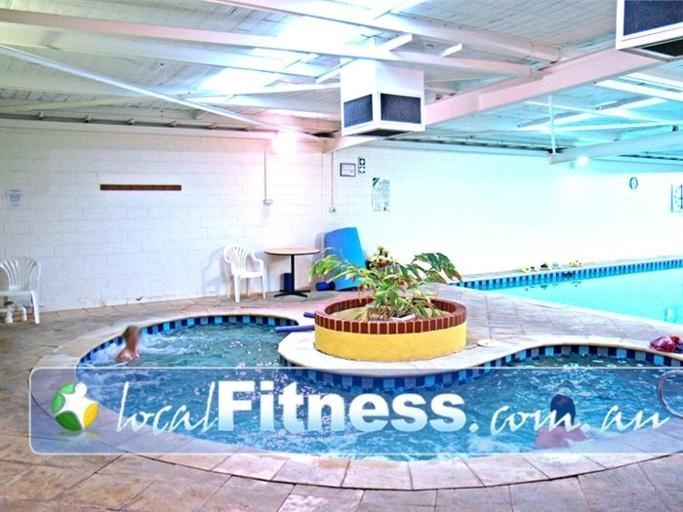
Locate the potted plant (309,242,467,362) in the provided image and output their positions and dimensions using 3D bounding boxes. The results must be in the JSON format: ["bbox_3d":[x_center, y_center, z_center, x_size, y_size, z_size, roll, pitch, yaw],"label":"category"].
[{"bbox_3d":[0.340,0.529,6.092,1.925,0.828,1.798,0,3,33],"label":"potted plant"}]
